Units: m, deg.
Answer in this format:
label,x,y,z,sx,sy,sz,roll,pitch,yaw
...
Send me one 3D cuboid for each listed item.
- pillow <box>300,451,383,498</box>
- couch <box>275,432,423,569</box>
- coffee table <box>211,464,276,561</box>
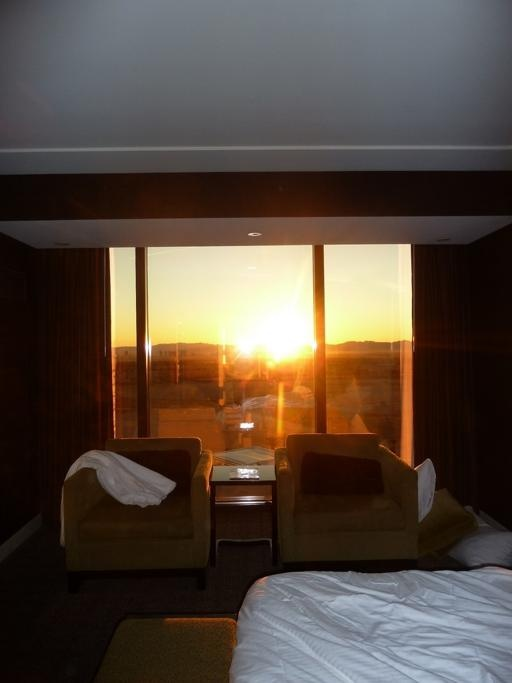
label,x,y,z,sx,sy,sz,roll,pitch,yaw
pillow,0.622,0.972,4.007,0.470,0.307,0.126,0,-35,4
couch,0.623,1.150,3.985,0.957,0.785,0.878,0,2,0
coffee table,-0.100,1.328,4.433,0.479,0.768,0.731,0,3,-2
